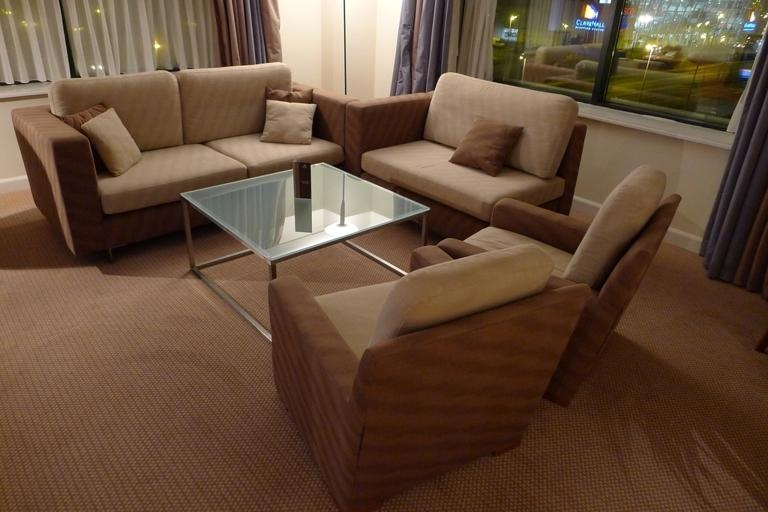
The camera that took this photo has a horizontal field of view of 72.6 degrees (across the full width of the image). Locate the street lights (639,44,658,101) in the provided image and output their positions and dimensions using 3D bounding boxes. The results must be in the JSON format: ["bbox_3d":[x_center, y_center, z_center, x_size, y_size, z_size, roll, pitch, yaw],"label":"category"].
[{"bbox_3d":[2.236,-1.585,4.443,0.036,0.410,0.147,-21,37,-38],"label":"street lights"}]

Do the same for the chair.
[{"bbox_3d":[0.482,0.472,2.684,1.494,0.961,0.920,-19,42,-20],"label":"chair"}]

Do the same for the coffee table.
[{"bbox_3d":[-0.577,-0.306,3.518,1.413,0.685,1.377,-16,33,-27],"label":"coffee table"}]
